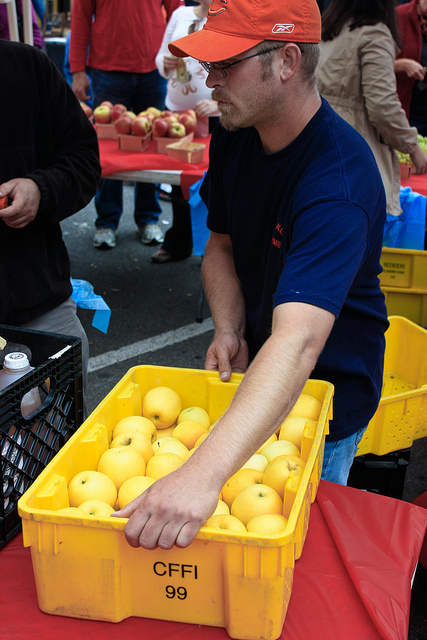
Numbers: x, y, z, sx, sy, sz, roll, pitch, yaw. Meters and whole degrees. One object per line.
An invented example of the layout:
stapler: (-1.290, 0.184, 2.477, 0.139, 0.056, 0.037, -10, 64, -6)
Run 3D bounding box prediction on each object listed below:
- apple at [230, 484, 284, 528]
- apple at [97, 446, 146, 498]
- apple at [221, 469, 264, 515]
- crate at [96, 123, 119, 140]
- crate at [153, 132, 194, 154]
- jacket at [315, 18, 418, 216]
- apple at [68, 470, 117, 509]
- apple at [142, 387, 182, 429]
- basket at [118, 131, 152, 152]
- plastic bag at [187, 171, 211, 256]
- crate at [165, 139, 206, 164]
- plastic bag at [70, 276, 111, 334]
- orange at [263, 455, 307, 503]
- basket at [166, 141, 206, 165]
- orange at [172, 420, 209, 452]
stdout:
apple: (0.091, 0.369, 1.164, 0.124, 0.064, 0.091, 3, 20, 11)
apple: (-0.207, 0.328, 1.313, 0.089, 0.106, 0.091, 8, 30, 31)
apple: (0.063, 0.365, 1.289, 0.079, 0.093, 0.078, 1, 38, -51)
crate: (-0.886, -1.562, 4.725, 0.144, 0.089, 0.144, -7, 31, -14)
crate: (-0.348, -1.404, 4.440, 0.163, 0.092, 0.259, 3, 28, 9)
jacket: (1.022, -1.263, 3.647, 0.669, 1.176, 0.425, -2, 8, -12)
apple: (-0.257, 0.353, 1.200, 0.078, 0.079, 0.078, -20, 20, -9)
apple: (-0.143, 0.237, 1.643, 0.120, 0.106, 0.121, 25, 25, 37)
basket: (-0.619, -1.394, 4.447, 0.176, 0.111, 0.179, 3, 21, 4)
plastic bag: (-0.115, -0.702, 3.966, 0.166, 0.678, 0.214, -13, 28, -30)
crate: (-0.175, -1.261, 4.219, 0.190, 0.101, 0.244, 15, 34, 16)
plastic bag: (-0.833, -0.088, 3.813, 0.219, 0.340, 0.348, -3, 8, -20)
orange: (0.159, 0.336, 1.242, 0.081, 0.083, 0.081, -5, 8, -5)
basket: (-0.172, -1.239, 4.240, 0.182, 0.101, 0.227, 15, 34, 17)
orange: (-0.062, 0.300, 1.574, 0.075, 0.086, 0.074, -35, 36, -15)
